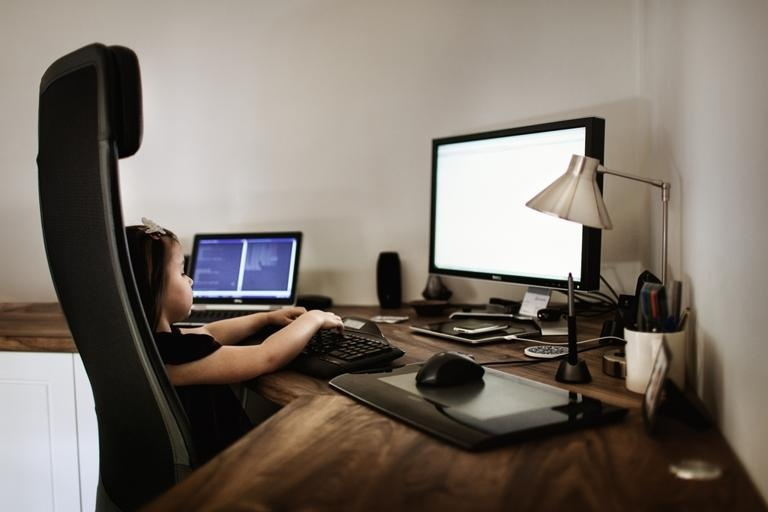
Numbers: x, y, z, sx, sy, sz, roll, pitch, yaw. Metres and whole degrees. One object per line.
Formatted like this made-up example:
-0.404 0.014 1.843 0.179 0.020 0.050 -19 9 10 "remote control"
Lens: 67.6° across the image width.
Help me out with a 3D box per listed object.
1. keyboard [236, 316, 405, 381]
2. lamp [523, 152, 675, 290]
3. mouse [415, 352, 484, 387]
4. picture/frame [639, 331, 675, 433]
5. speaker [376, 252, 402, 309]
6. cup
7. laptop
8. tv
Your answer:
-0.147 0.208 1.411 0.329 0.081 0.352 3 6 -27 "keyboard"
0.480 -0.061 1.279 0.188 0.316 0.274 -5 10 -42 "lamp"
0.130 0.227 1.200 0.142 0.057 0.172 3 6 -10 "mouse"
0.467 0.218 0.990 0.077 0.139 0.133 0 0 25 "picture/frame"
0.018 0.080 2.042 0.091 0.180 0.089 -2 3 3 "speaker"
0.504 0.196 1.096 0.114 0.127 0.127 0 -1 1 "cup"
-0.489 0.067 1.979 0.405 0.296 0.228 4 2 26 "laptop"
0.371 -0.078 1.584 0.100 0.679 0.752 1 -1 -40 "tv"
